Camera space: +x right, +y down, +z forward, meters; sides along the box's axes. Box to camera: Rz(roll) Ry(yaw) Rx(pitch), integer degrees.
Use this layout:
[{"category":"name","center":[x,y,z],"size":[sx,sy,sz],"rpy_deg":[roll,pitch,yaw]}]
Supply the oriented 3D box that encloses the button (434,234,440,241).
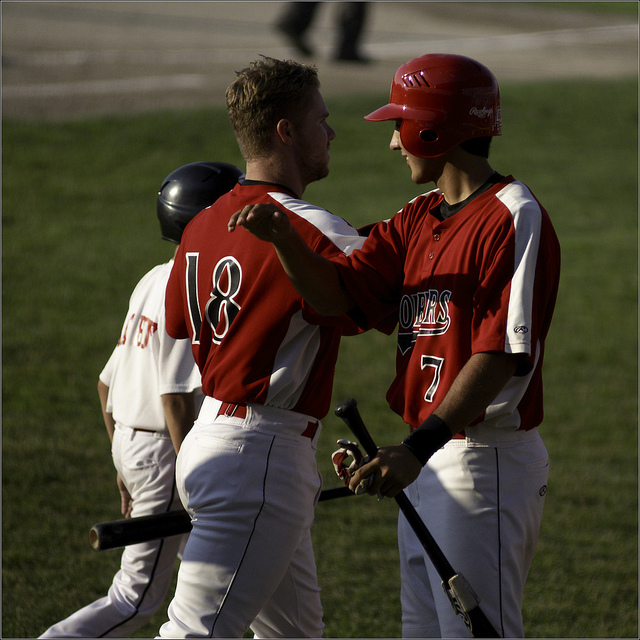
[{"category":"button","center":[0.835,-0.614,11.687],"size":[0.044,0.045,0.011],"rpy_deg":[-1,-10,15]}]

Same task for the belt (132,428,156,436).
[{"category":"belt","center":[-1.379,0.872,12.608],"size":[0.173,0.051,0.013],"rpy_deg":[6,14,12]}]
